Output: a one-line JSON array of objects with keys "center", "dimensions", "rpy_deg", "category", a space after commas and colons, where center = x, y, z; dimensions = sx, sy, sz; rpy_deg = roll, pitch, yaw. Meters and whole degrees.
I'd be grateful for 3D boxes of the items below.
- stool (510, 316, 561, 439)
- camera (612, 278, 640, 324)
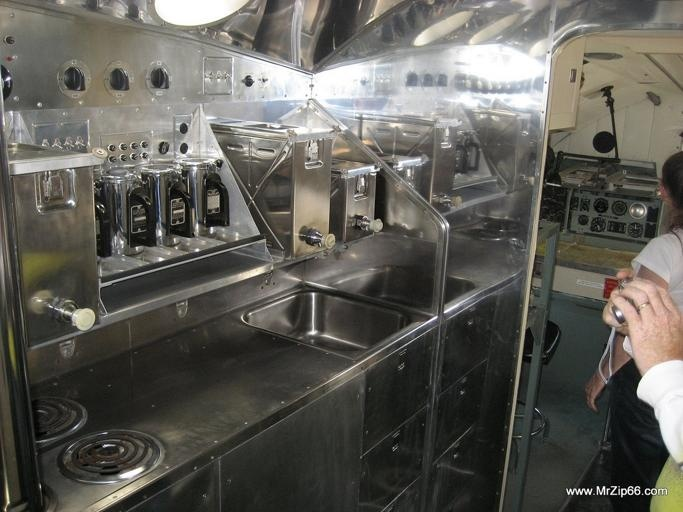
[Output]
[{"center": [1.100, 0.747, 2.991], "dimensions": [0.267, 0.371, 0.262], "rpy_deg": [6, -8, -41], "category": "stool"}, {"center": [0.630, 0.106, 1.141], "dimensions": [0.034, 0.094, 0.095], "rpy_deg": [-18, 19, 38], "category": "camera"}]
